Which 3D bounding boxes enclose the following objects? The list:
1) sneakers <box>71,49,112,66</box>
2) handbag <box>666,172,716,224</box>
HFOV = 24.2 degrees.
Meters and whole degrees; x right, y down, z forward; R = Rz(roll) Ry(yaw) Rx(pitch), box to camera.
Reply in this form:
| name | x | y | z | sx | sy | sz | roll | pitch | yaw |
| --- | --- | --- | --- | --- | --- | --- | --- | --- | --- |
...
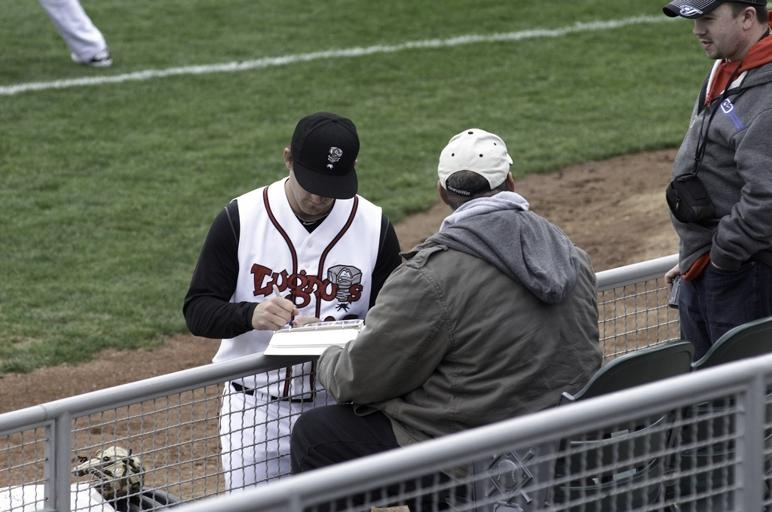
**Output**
| name | x | y | z | sx | sy | sz | roll | pitch | yaw |
| --- | --- | --- | --- | --- | --- | --- | --- | --- | --- |
| sneakers | -3.706 | -2.542 | 22.973 | 0.407 | 0.135 | 0.225 | 2 | 4 | -11 |
| handbag | 2.641 | -0.506 | 15.497 | 0.287 | 0.365 | 0.194 | -45 | -1 | -29 |
